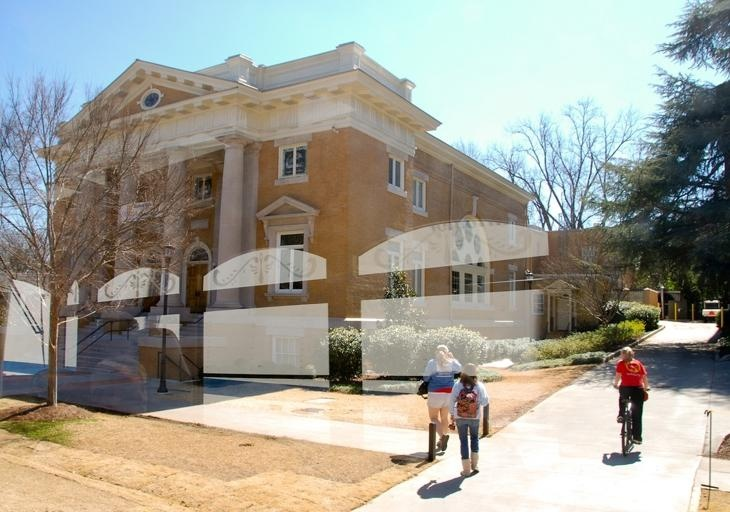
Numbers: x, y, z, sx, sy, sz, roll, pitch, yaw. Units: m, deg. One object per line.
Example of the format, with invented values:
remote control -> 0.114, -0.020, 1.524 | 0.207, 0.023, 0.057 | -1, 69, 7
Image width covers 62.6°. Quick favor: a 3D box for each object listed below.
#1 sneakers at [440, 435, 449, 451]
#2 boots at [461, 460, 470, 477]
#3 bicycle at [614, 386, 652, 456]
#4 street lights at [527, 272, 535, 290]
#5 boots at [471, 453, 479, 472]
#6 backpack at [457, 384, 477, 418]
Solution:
sneakers -> 1.652, 3.867, 12.415 | 0.090, 0.313, 0.214 | 5, 0, -38
boots -> 1.909, 3.958, 11.293 | 0.158, 0.304, 0.234 | 0, 1, 10
bicycle -> 5.387, 3.433, 12.268 | 0.682, 0.798, 1.370 | 0, -4, 23
street lights -> 10.860, 1.611, 39.568 | 0.541, 1.064, 0.795 | 1, 1, 32
boots -> 2.092, 3.922, 11.413 | 0.136, 0.340, 0.218 | 0, 1, 10
backpack -> 1.987, 2.763, 11.569 | 0.519, 0.673, 0.391 | 0, 2, 4
